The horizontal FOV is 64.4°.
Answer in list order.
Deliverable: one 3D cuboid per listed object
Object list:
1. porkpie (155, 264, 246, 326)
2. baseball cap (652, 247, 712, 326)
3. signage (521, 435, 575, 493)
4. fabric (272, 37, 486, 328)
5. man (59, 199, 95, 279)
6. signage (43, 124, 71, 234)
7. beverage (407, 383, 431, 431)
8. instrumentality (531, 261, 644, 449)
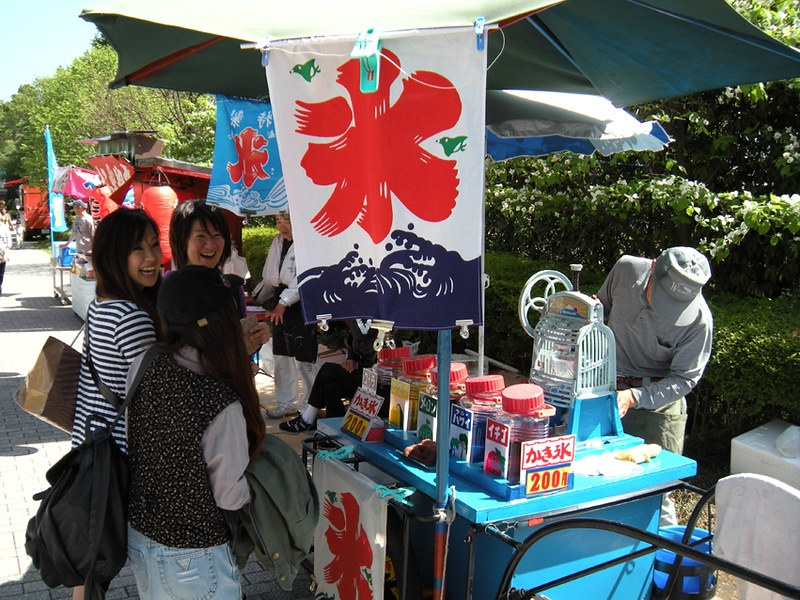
[{"bbox_3d":[-0.881,-0.026,2.877,0.342,0.191,0.253,-27,28,-36],"label":"porkpie"},{"bbox_3d":[1.596,-0.078,3.629,0.279,0.473,0.238,4,-20,10],"label":"baseball cap"},{"bbox_3d":[0.691,0.779,3.027,0.255,0.240,0.011,-2,4,-25],"label":"signage"},{"bbox_3d":[-0.060,-0.543,2.736,1.123,1.409,0.156,-1,14,12],"label":"fabric"},{"bbox_3d":[-6.425,-1.133,12.954,0.579,1.793,0.477,16,25,14],"label":"man"},{"bbox_3d":[-8.673,-3.012,16.267,0.535,2.818,0.117,-4,-8,-3],"label":"signage"},{"bbox_3d":[0.109,0.586,3.600,0.090,0.336,0.080,8,-6,-20],"label":"beverage"},{"bbox_3d":[0.939,0.315,3.504,0.491,0.918,0.641,-5,10,-21],"label":"instrumentality"}]
